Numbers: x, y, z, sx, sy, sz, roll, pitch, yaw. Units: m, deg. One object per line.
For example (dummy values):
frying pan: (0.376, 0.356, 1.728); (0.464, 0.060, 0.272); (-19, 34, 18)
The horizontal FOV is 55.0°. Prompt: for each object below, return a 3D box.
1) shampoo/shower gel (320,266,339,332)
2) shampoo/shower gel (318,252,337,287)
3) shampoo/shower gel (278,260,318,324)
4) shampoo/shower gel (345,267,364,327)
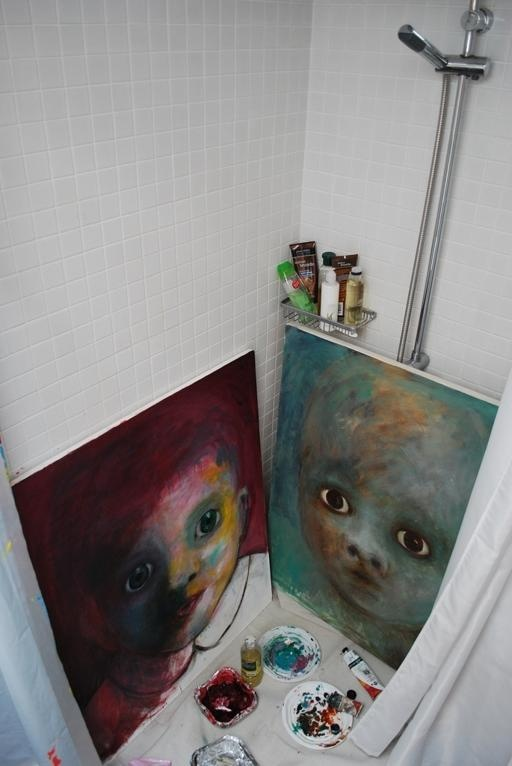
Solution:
shampoo/shower gel: (0.210, -0.253, 1.377); (0.045, 0.169, 0.045); (10, 42, 21)
shampoo/shower gel: (0.203, -0.330, 1.374); (0.039, 0.093, 0.091); (9, 32, 7)
shampoo/shower gel: (0.132, -0.284, 1.445); (0.075, 0.133, 0.173); (-24, 43, -38)
shampoo/shower gel: (0.275, -0.246, 1.364); (0.051, 0.188, 0.052); (3, 49, 8)
